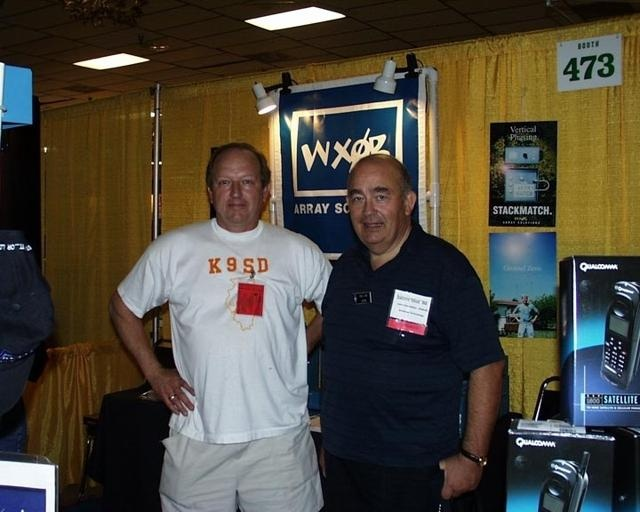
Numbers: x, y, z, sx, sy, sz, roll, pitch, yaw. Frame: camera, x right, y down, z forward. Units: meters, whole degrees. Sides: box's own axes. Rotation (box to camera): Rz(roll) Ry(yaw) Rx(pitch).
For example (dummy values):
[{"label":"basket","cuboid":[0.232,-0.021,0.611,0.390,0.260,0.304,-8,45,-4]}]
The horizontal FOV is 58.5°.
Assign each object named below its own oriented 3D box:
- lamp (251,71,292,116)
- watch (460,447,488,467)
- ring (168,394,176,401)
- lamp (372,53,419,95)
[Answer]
[{"label":"lamp","cuboid":[-0.285,-1.059,3.722,0.264,0.275,0.296,-1,4,5]},{"label":"watch","cuboid":[0.556,0.716,2.044,0.075,0.039,0.078,20,-6,5]},{"label":"ring","cuboid":[-0.569,0.545,2.210,0.023,0.021,0.039,2,4,-2]},{"label":"lamp","cuboid":[0.442,-1.041,3.262,0.243,0.236,0.127,10,17,4]}]
